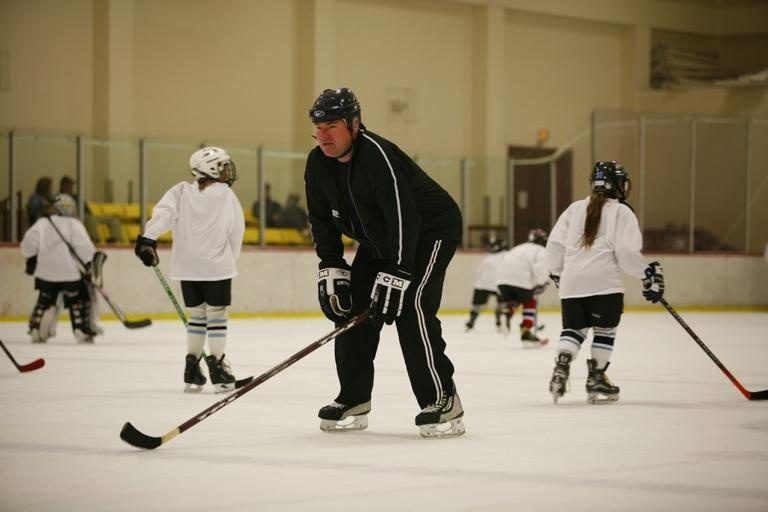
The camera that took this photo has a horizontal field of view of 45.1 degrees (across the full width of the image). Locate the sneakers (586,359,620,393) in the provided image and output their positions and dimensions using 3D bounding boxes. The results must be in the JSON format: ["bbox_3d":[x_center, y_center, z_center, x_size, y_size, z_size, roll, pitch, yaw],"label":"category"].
[{"bbox_3d":[1.578,0.859,6.628,0.225,0.240,0.135,2,10,12],"label":"sneakers"}]

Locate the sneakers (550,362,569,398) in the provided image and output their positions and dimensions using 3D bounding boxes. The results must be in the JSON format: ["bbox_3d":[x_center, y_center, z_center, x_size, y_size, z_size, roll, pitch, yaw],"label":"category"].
[{"bbox_3d":[1.268,0.900,6.665,0.133,0.297,0.225,2,10,10],"label":"sneakers"}]

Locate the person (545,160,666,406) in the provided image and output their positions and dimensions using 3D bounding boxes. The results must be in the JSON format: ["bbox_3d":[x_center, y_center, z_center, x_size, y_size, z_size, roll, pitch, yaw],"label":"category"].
[{"bbox_3d":[1.606,0.178,6.761,0.812,1.697,0.733,2,10,7],"label":"person"}]

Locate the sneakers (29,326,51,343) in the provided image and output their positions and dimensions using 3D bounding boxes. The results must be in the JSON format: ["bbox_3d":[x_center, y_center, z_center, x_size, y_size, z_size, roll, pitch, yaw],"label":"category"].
[{"bbox_3d":[-3.579,0.792,9.587,0.176,0.164,0.135,-9,13,-23],"label":"sneakers"}]

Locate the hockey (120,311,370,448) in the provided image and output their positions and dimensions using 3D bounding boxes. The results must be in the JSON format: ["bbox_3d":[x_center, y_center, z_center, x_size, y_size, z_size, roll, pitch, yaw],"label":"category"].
[{"bbox_3d":[-1.048,0.918,6.851,1.575,0.228,0.155,-26,14,-21],"label":"hockey"}]

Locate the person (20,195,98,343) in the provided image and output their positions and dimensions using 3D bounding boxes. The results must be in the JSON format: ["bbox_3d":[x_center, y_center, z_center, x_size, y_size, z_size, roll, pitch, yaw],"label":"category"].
[{"bbox_3d":[-3.334,0.118,9.606,0.810,1.488,0.471,-2,10,-12],"label":"person"}]

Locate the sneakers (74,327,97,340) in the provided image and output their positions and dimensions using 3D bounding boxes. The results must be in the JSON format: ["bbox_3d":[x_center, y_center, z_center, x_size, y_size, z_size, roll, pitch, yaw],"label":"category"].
[{"bbox_3d":[-3.091,0.791,9.558,0.137,0.158,0.174,6,21,1],"label":"sneakers"}]

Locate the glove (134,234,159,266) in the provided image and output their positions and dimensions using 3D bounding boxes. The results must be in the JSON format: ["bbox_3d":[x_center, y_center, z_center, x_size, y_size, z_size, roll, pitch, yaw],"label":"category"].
[{"bbox_3d":[-1.760,-0.045,6.949,0.198,0.249,0.104,-5,26,35],"label":"glove"}]

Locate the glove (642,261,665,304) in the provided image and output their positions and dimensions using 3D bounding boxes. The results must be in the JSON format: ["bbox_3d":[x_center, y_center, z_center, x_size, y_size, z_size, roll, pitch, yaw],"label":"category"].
[{"bbox_3d":[1.947,0.178,6.775,0.108,0.281,0.213,-15,-25,35],"label":"glove"}]

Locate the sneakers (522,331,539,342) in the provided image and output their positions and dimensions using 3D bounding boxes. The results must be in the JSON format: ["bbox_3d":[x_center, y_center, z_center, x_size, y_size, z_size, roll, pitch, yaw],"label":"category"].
[{"bbox_3d":[1.549,0.821,9.717,0.195,0.114,0.155,-2,10,-16],"label":"sneakers"}]

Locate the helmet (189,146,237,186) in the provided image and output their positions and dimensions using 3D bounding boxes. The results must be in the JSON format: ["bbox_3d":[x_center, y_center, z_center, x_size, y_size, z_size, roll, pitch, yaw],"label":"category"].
[{"bbox_3d":[-1.326,-0.699,7.191,0.336,0.324,0.256,-8,13,-24],"label":"helmet"}]

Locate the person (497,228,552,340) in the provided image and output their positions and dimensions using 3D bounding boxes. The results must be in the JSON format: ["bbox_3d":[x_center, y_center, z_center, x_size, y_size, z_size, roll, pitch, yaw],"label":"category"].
[{"bbox_3d":[1.545,0.369,10.266,0.565,1.206,1.365,2,10,7],"label":"person"}]

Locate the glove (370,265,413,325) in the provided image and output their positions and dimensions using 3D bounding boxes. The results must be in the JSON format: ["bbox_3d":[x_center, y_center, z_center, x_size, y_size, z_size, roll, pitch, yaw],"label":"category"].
[{"bbox_3d":[0.023,0.227,5.511,0.134,0.314,0.234,6,15,-40],"label":"glove"}]

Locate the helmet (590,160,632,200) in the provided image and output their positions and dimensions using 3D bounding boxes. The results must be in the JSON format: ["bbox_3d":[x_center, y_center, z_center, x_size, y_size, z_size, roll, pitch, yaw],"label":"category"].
[{"bbox_3d":[1.698,-0.559,6.939,0.297,0.288,0.248,-3,7,-34],"label":"helmet"}]

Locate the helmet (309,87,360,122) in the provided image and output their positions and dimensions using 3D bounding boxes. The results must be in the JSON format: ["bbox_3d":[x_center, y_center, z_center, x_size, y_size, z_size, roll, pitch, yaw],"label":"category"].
[{"bbox_3d":[-0.291,-0.901,5.552,0.249,0.169,0.205,-14,16,-40],"label":"helmet"}]

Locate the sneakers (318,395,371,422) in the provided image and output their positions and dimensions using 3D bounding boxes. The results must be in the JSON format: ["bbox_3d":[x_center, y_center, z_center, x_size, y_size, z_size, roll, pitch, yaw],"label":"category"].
[{"bbox_3d":[-0.244,0.954,5.876,0.347,0.164,0.135,1,-1,-14],"label":"sneakers"}]
